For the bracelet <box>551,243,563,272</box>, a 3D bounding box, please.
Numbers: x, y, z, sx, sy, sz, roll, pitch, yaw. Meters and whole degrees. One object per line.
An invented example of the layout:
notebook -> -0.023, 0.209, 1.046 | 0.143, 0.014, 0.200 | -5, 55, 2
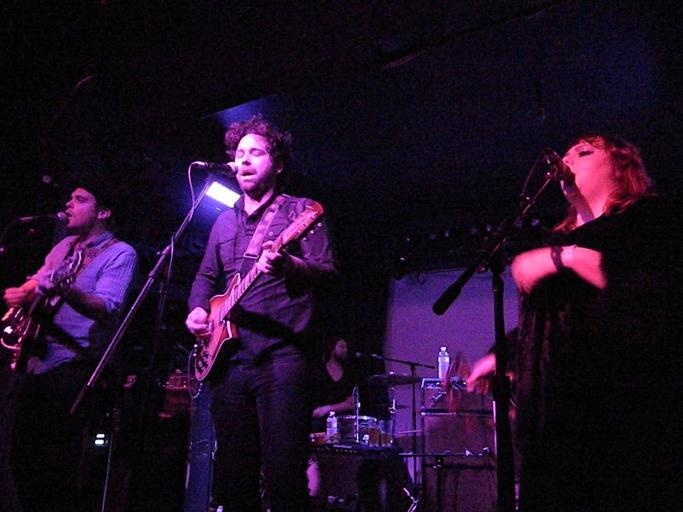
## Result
bracelet -> 1.077, -0.001, 2.998 | 0.025, 0.106, 0.073 | 10, -19, -39

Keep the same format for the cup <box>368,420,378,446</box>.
cup -> 0.333, 1.857, 6.203 | 0.130, 0.222, 0.139 | 1, -17, 0

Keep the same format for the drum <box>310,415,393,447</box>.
drum -> 0.221, 1.861, 6.356 | 0.429, 0.192, 0.562 | 18, -22, -41
